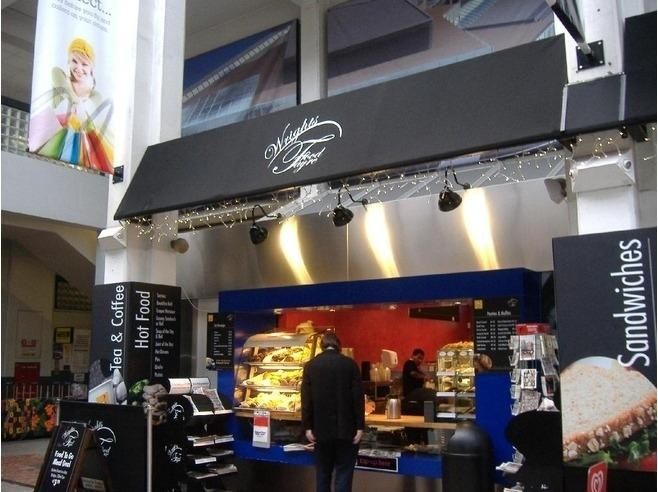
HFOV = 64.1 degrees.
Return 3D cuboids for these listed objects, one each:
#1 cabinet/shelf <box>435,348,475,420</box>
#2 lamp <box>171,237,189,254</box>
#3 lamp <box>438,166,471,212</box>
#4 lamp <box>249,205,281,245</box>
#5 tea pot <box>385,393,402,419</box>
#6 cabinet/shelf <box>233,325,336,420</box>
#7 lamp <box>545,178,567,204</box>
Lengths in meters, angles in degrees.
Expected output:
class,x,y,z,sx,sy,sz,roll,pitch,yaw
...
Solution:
class,x,y,z,sx,sy,sz,roll,pitch,yaw
cabinet/shelf,1.465,1.568,6.111,0.477,0.849,0.704,-5,-11,12
lamp,-1.916,-0.005,6.693,0.208,0.200,0.314,1,-12,-20
lamp,1.414,-0.682,5.932,0.320,0.606,0.257,-11,-13,20
lamp,-0.945,-0.351,7.403,0.447,0.256,0.828,-29,-21,-20
tea pot,0.809,2.003,6.508,0.254,0.292,0.185,-2,-3,8
cabinet/shelf,-0.515,1.635,7.232,1.232,1.332,1.049,-5,-11,30
lamp,2.506,-0.642,5.767,0.177,0.268,0.576,-8,-12,27
